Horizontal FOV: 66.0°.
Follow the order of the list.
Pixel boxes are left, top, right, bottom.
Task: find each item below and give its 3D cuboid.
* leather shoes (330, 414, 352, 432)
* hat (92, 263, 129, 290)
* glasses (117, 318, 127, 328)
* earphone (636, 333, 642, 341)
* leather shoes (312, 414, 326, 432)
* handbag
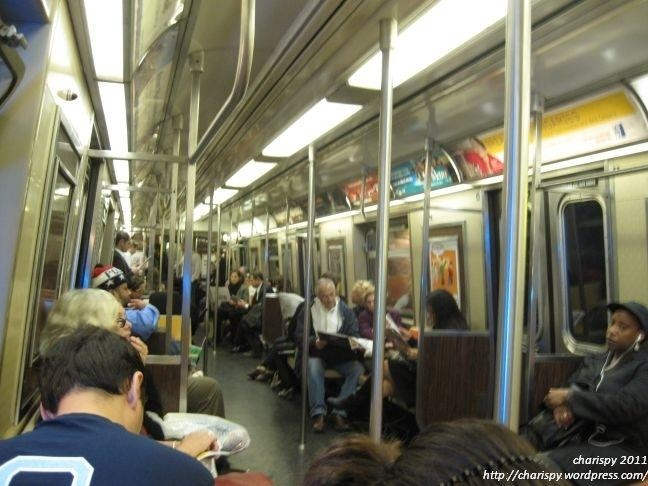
[{"bbox_3d":[0.116,1.244,3.436,0.066,0.097,0.216,-2,-25,-19],"label":"leather shoes"},{"bbox_3d":[-1.985,0.321,4.569,0.288,0.157,0.563,-11,14,-29],"label":"hat"},{"bbox_3d":[-1.321,0.522,3.264,0.042,0.013,0.043,8,13,31],"label":"glasses"},{"bbox_3d":[1.153,0.343,1.833,0.018,0.010,0.026,-3,-37,-28],"label":"earphone"},{"bbox_3d":[-0.039,1.533,4.243,0.082,0.192,0.273,2,-30,-3],"label":"leather shoes"},{"bbox_3d":[0.766,0.591,1.668,0.140,0.065,0.146,-21,6,-12],"label":"handbag"}]
